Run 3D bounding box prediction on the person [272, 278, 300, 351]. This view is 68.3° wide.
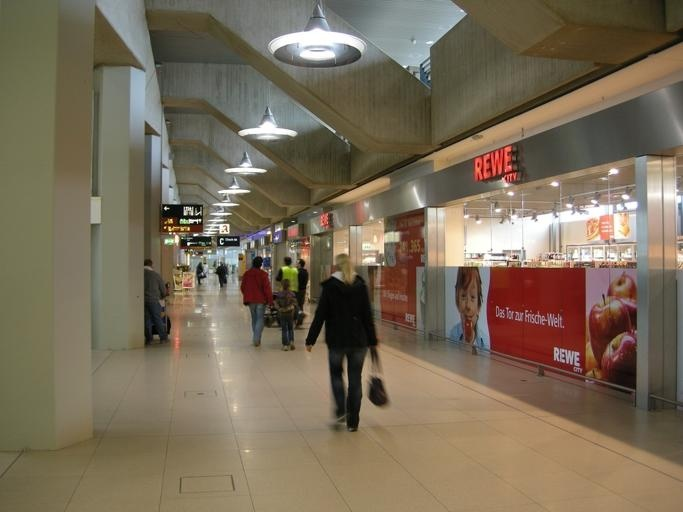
[{"bbox_3d":[-1.267,1.262,11.315,0.428,1.467,1.639,0,-1,-6],"label":"person"}]

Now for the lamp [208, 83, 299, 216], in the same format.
[{"bbox_3d":[-2.552,-3.535,15.005,1.508,1.926,4.576,1,-10,-7],"label":"lamp"}]

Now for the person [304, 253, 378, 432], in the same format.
[{"bbox_3d":[-0.002,0.957,5.854,0.787,1.952,0.627,0,-1,-3],"label":"person"}]

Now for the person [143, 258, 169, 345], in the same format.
[{"bbox_3d":[-4.201,1.023,11.330,0.510,1.861,0.616,0,-1,-22],"label":"person"}]

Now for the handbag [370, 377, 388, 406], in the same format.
[{"bbox_3d":[0.416,1.523,5.662,0.213,0.364,0.153,0,-1,6],"label":"handbag"}]
